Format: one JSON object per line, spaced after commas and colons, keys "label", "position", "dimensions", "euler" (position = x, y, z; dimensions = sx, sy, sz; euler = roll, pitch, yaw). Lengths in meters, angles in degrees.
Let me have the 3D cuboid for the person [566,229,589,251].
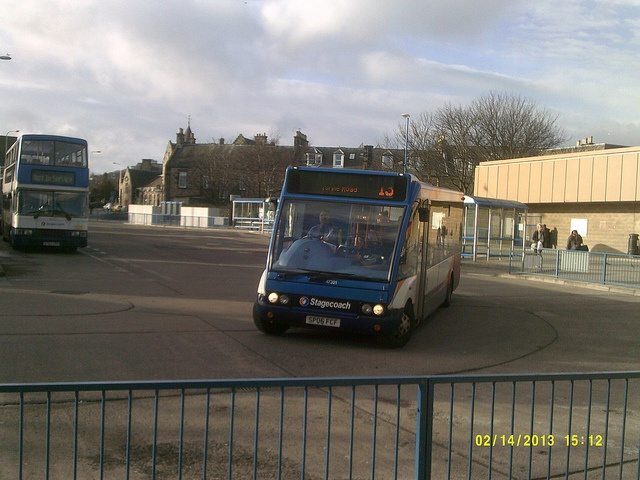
{"label": "person", "position": [11.232, -0.011, 28.873], "dimensions": [0.765, 1.174, 0.502], "euler": [-5, 2, -1]}
